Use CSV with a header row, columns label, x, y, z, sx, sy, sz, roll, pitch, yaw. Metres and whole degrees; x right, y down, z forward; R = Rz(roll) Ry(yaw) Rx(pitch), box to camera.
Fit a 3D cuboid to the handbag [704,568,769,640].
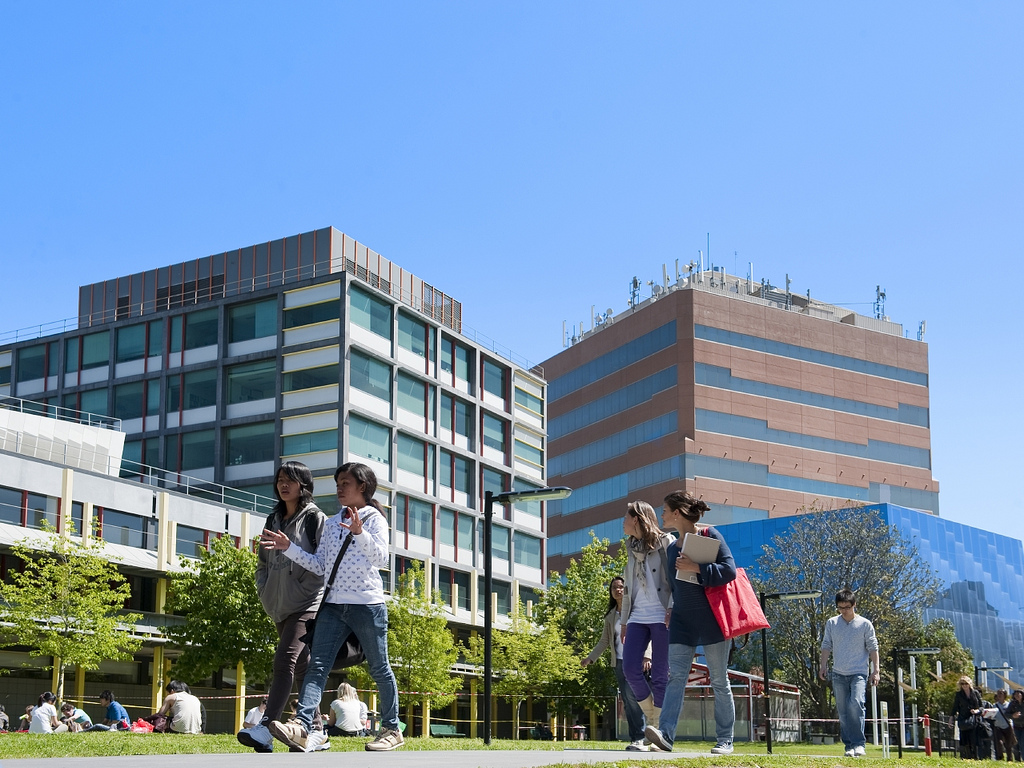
label,x,y,z,sx,sy,sz,roll,pitch,yaw
handbag,2.596,2.531,14.620,0.767,0.868,0.402,16,-27,-30
